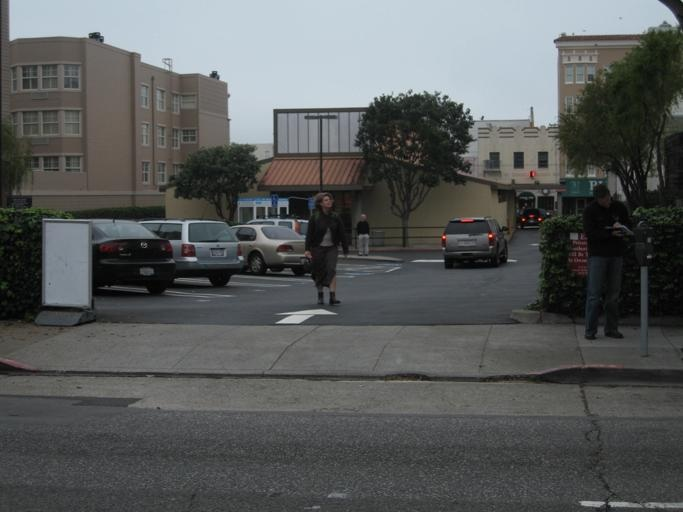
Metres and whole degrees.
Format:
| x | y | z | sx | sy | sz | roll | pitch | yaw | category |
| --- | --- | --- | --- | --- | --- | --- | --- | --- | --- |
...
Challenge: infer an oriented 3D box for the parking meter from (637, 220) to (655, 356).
| x | y | z | sx | sy | sz | roll | pitch | yaw | category |
| --- | --- | --- | --- | --- | --- | --- | --- | --- | --- |
| 4.139 | 0.312 | 11.312 | 0.273 | 2.127 | 0.344 | -2 | 3 | -9 | parking meter |

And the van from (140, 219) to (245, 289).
| x | y | z | sx | sy | sz | roll | pitch | yaw | category |
| --- | --- | --- | --- | --- | --- | --- | --- | --- | --- |
| -3.839 | -0.262 | 21.968 | 1.817 | 2.182 | 2.412 | -2 | 3 | -12 | van |

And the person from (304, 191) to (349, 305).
| x | y | z | sx | sy | sz | roll | pitch | yaw | category |
| --- | --- | --- | --- | --- | --- | --- | --- | --- | --- |
| -0.286 | -0.153 | 16.604 | 0.839 | 2.186 | 0.671 | 0 | 5 | -4 | person |
